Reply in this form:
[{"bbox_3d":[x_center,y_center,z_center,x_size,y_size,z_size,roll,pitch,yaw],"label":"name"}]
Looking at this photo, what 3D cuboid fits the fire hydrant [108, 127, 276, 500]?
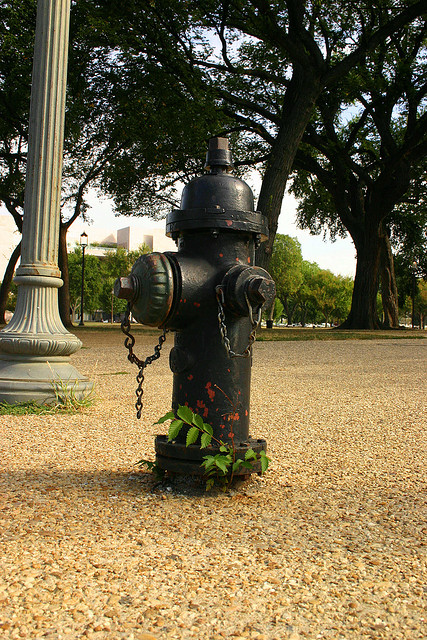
[{"bbox_3d":[-0.060,-0.049,2.988,0.759,1.846,0.654,3,3,-1],"label":"fire hydrant"}]
